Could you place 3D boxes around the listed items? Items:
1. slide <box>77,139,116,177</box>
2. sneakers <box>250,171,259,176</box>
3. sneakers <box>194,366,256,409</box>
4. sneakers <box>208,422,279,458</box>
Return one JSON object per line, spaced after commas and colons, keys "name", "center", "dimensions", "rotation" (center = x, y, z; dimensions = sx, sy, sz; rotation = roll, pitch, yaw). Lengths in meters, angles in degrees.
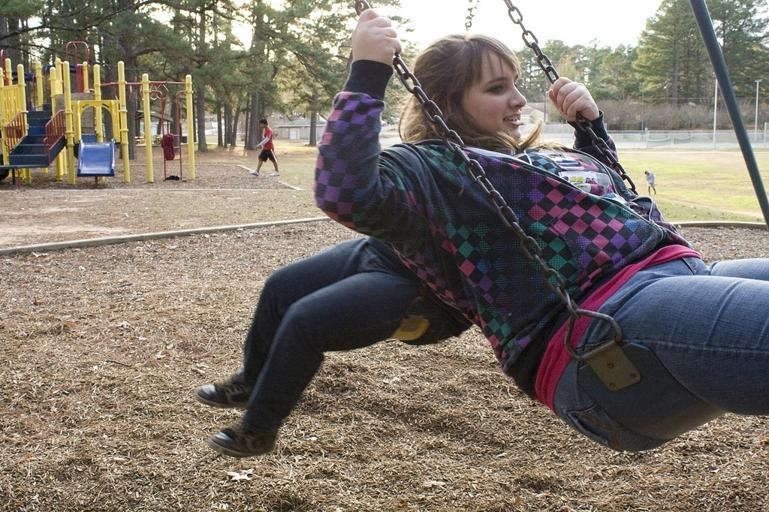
{"name": "slide", "center": [-5.832, -1.949, 13.732], "dimensions": [0.753, 0.375, 1.203], "rotation": [1, 23, -17]}
{"name": "sneakers", "center": [-3.406, -2.115, 17.516], "dimensions": [0.275, 0.095, 0.093], "rotation": [8, 2, 12]}
{"name": "sneakers", "center": [-0.645, 0.554, 2.845], "dimensions": [0.344, 0.125, 0.108], "rotation": [2, 5, 7]}
{"name": "sneakers", "center": [-0.558, 0.709, 2.634], "dimensions": [0.369, 0.143, 0.154], "rotation": [18, -24, -40]}
